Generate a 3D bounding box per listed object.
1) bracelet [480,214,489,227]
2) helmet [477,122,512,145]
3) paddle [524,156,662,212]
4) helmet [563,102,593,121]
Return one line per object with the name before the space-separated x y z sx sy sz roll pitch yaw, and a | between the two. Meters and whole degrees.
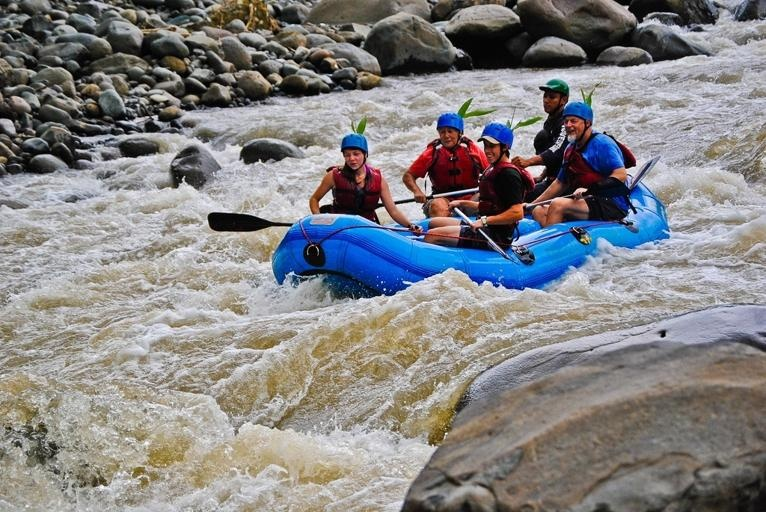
bracelet | 1.221 -0.432 10.958 0.083 0.109 0.125 2 -2 10
helmet | 1.385 -1.466 10.912 0.345 0.169 0.243 7 3 -25
paddle | 2.683 -0.929 11.908 1.619 0.204 0.179 -27 42 -12
helmet | 2.468 -1.833 11.636 0.349 0.264 0.283 -7 33 8
